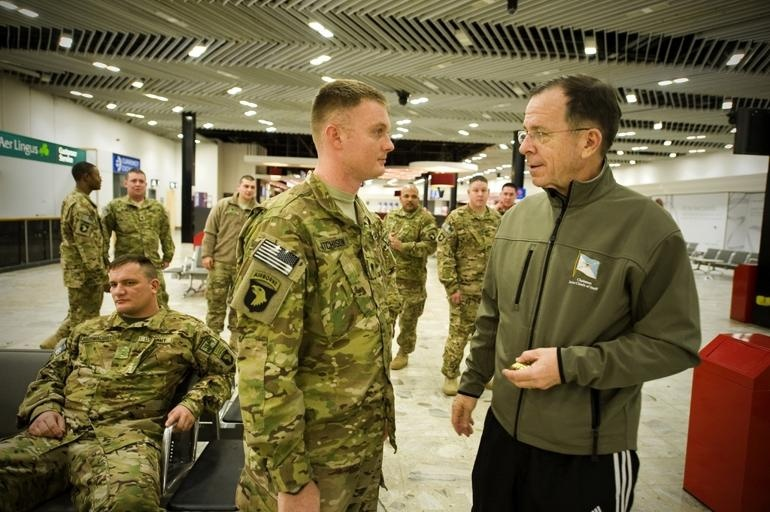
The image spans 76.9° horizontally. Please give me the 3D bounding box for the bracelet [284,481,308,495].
[{"bbox_3d":[-0.390,1.021,2.136,0.060,0.021,0.062,-13,-18,-42],"label":"bracelet"}]

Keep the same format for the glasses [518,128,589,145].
[{"bbox_3d":[0.843,-0.611,2.432,0.213,0.045,0.146,-2,5,0],"label":"glasses"}]

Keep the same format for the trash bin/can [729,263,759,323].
[{"bbox_3d":[6.374,0.640,8.547,0.329,0.988,0.395,3,6,25],"label":"trash bin/can"}]
